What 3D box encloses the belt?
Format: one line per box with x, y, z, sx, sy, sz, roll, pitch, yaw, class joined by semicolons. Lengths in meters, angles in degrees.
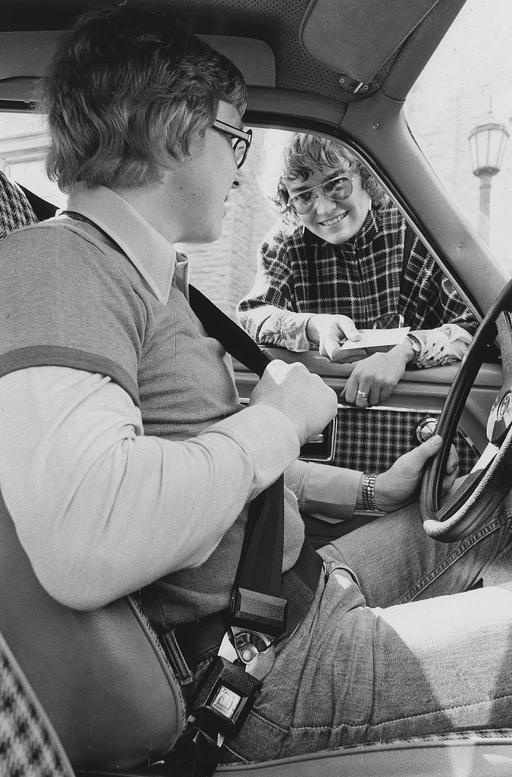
-0.078;0.293;0.783;0.088;0.020;0.084;31;-15;-6;belt

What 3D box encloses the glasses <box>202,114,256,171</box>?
-0.042;-0.384;1.033;0.065;0.021;0.065;15;9;1;glasses

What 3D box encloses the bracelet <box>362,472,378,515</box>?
0.221;0.208;1.317;0.046;0.073;0.063;2;6;21;bracelet

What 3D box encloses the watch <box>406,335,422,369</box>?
0.379;-0.088;1.598;0.032;0.064;0.046;6;-6;-9;watch
